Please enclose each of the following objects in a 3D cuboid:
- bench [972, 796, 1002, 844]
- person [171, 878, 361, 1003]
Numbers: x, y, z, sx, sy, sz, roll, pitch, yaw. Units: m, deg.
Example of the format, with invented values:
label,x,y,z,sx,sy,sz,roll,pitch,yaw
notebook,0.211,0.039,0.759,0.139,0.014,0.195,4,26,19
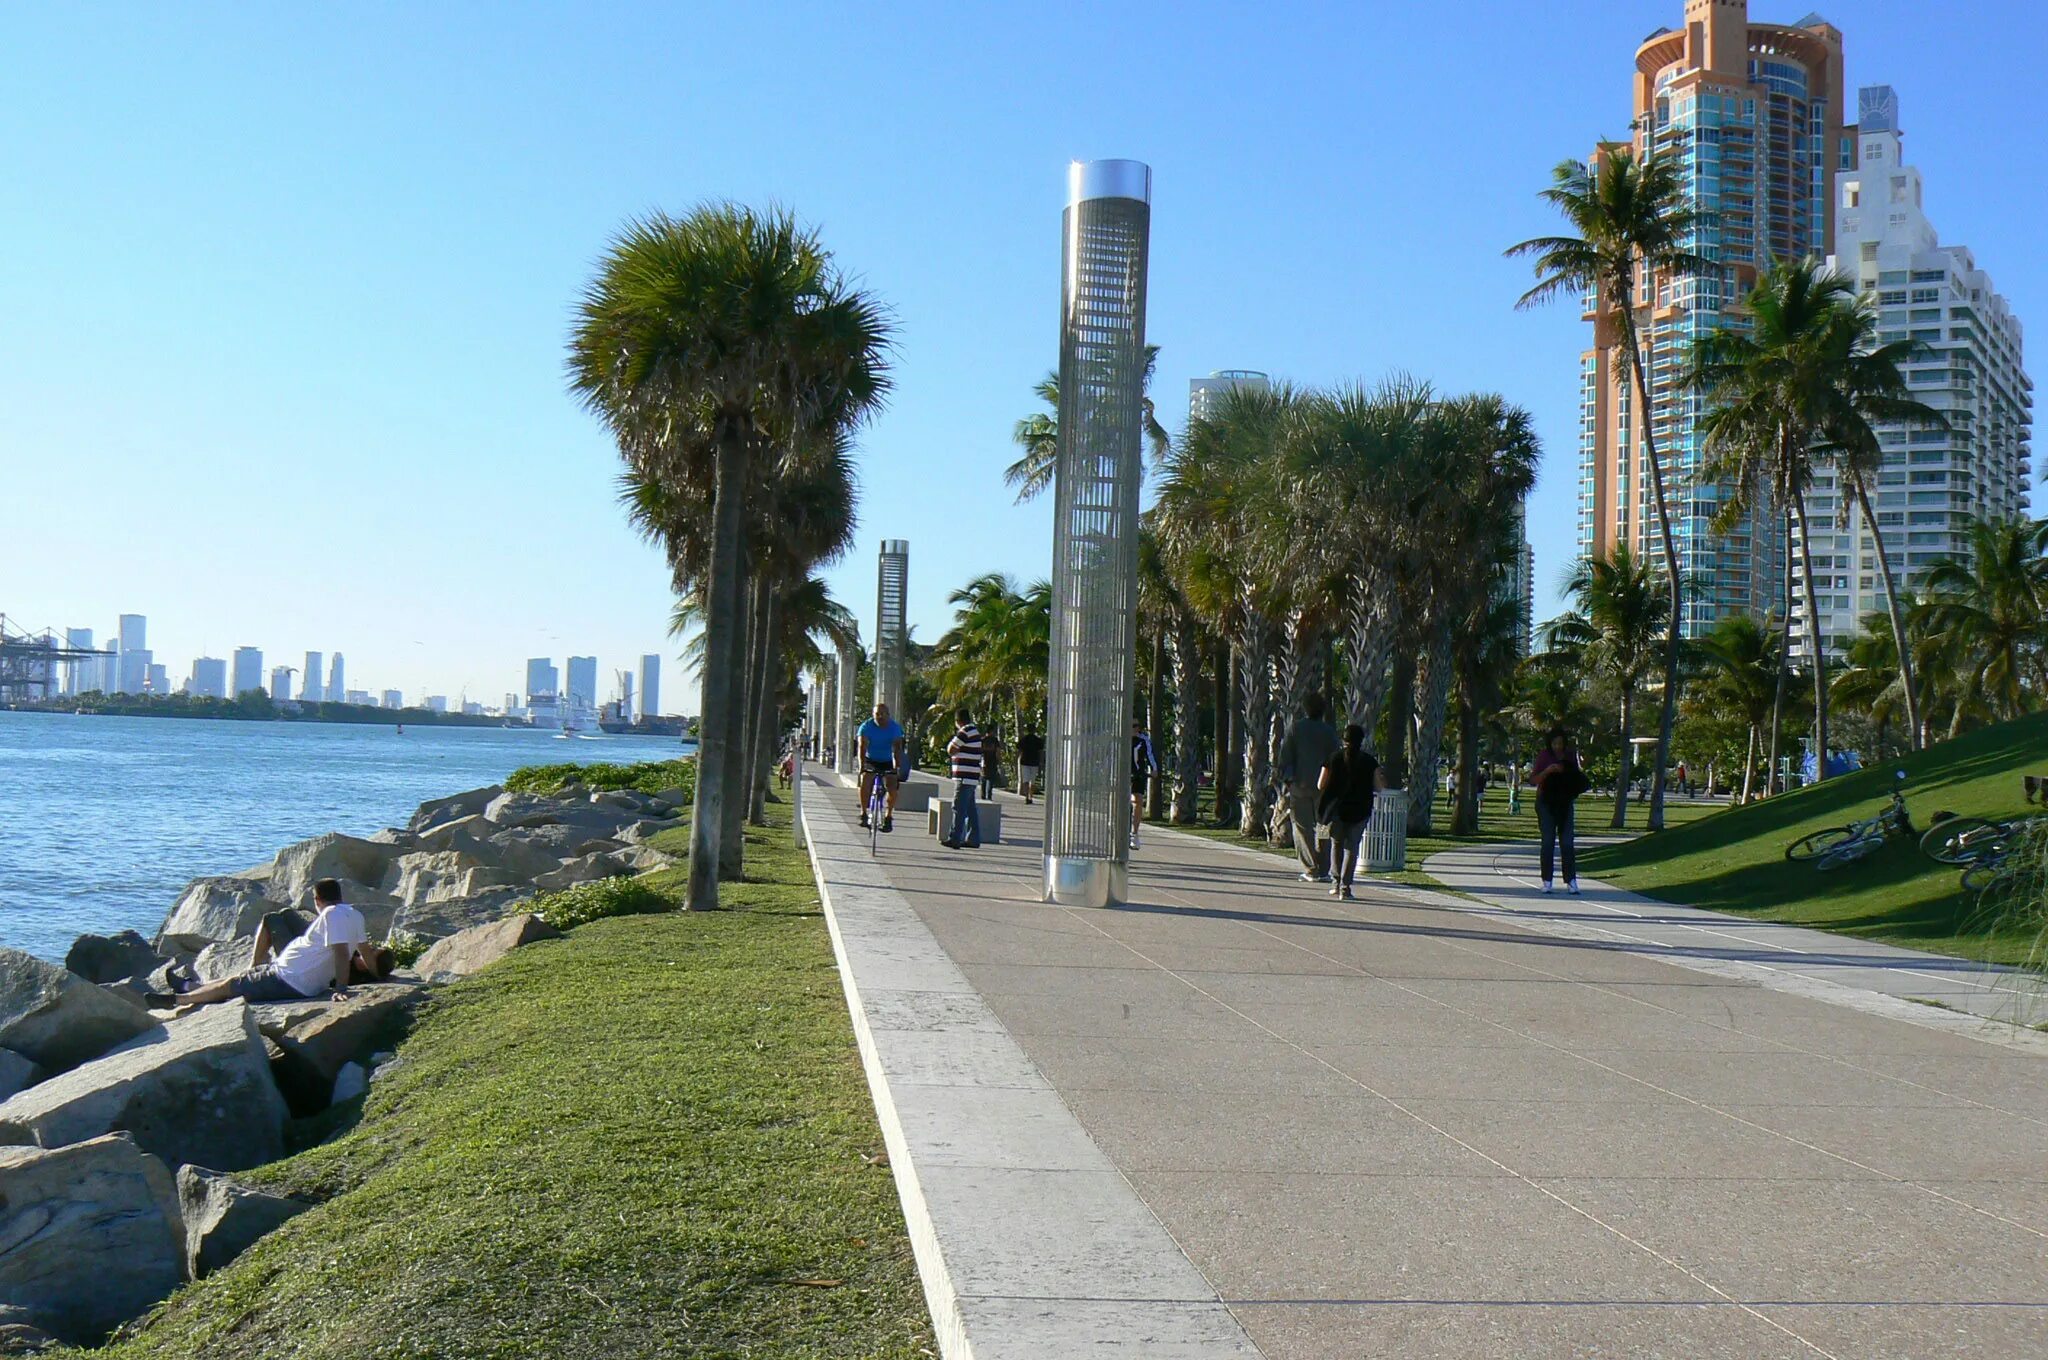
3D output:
label,x,y,z,sx,sy,sz,roll,pitch,yaw
bench,-0.579,2.281,29.275,0.464,0.552,0.530,0,-1,-5
person,-7.718,2.730,19.024,1.558,1.251,1.188,1,-4,22
